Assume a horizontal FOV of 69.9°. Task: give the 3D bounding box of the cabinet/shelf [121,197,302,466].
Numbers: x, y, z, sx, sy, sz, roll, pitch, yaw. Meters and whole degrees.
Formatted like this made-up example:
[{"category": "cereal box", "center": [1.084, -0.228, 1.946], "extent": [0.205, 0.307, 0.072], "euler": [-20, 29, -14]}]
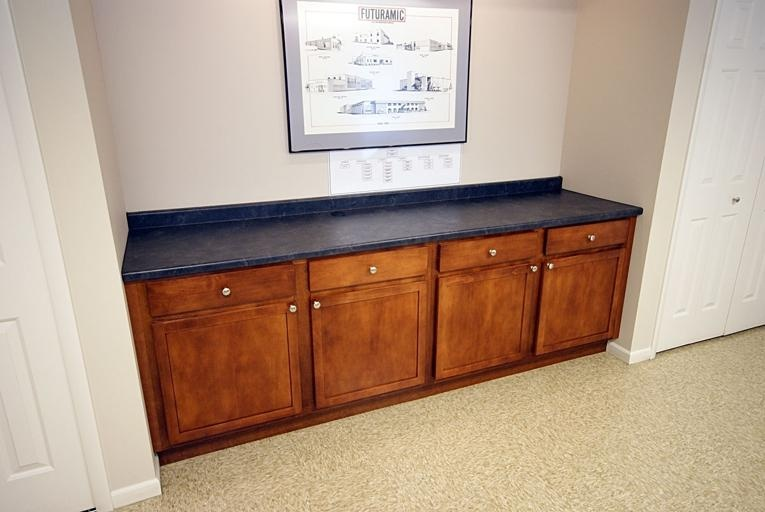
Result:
[{"category": "cabinet/shelf", "center": [-0.873, 0.449, 2.775], "extent": [1.128, 1.058, 0.668], "euler": [-11, 24, -25]}]
